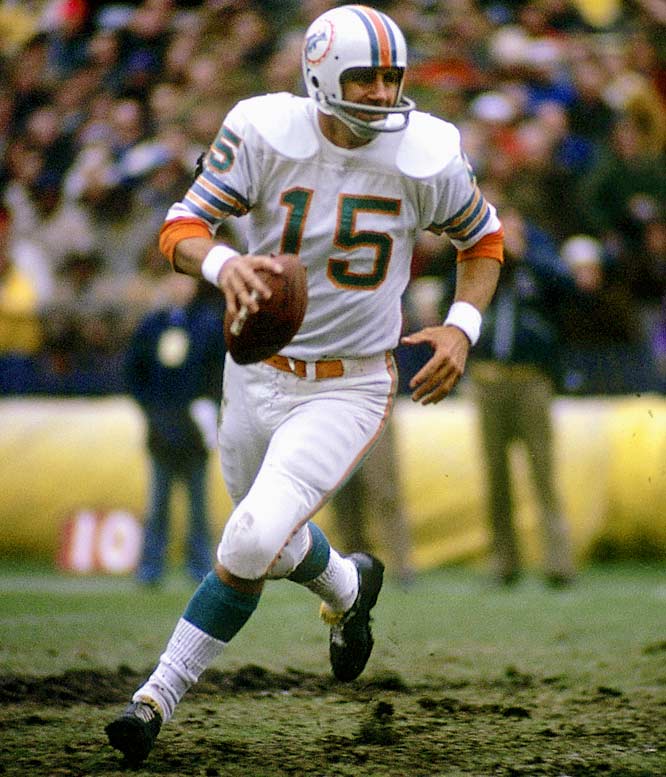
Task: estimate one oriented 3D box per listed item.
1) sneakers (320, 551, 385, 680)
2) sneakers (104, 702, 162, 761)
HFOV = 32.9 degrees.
[{"bbox_3d":[0.088,0.689,3.516,0.223,0.377,0.166,6,-1,-43],"label":"sneakers"},{"bbox_3d":[-0.504,0.874,2.892,0.109,0.217,0.068,-29,86,-3],"label":"sneakers"}]
